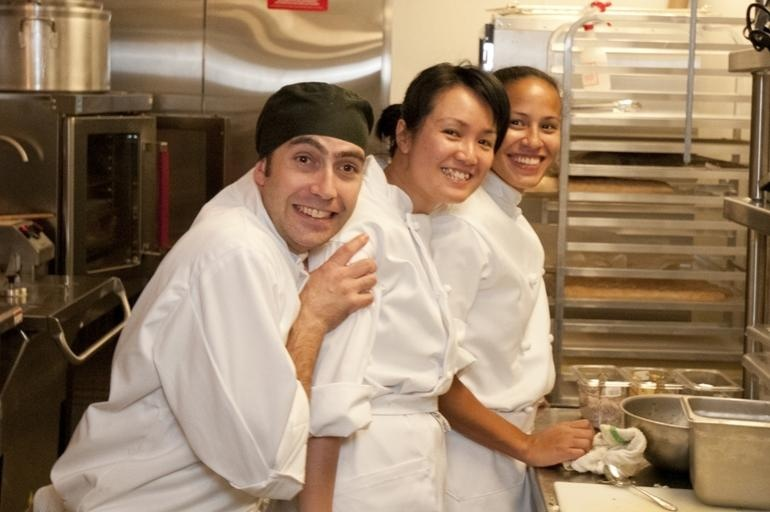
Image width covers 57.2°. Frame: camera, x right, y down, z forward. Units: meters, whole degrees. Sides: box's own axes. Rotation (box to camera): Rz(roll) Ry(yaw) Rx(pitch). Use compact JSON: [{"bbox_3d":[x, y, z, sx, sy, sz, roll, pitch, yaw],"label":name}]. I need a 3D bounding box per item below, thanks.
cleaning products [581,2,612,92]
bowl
[{"bbox_3d":[1.000,-1.013,3.349,0.152,0.427,0.205,4,8,16],"label":"cleaning products"},{"bbox_3d":[0.755,0.484,1.947,0.192,0.117,0.186,0,4,0],"label":"bowl"}]
